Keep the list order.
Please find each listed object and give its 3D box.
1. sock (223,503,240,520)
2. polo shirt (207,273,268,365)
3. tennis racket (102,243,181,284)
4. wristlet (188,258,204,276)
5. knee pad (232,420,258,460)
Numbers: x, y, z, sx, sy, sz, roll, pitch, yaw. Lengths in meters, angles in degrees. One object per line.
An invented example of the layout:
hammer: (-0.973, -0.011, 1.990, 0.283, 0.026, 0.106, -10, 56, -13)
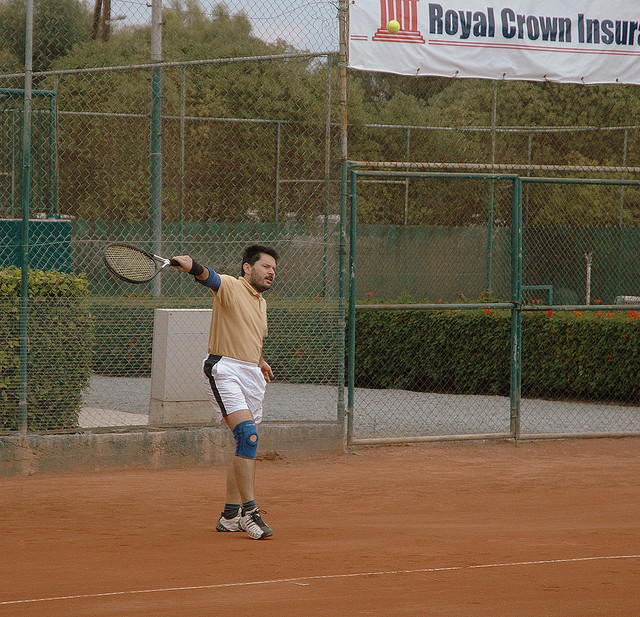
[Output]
sock: (-0.617, 1.397, 8.684, 0.110, 0.119, 0.082, -6, -6, 33)
polo shirt: (-0.574, 0.078, 8.719, 0.147, 0.335, 0.571, -1, -17, 25)
tennis racket: (-1.244, -0.299, 8.594, 0.553, 0.274, 0.397, 2, 6, 8)
wristlet: (-0.832, -0.266, 8.422, 0.030, 0.105, 0.080, -27, 17, 30)
knee pad: (-0.513, 0.903, 8.645, 0.148, 0.288, 0.176, 3, 0, -29)
